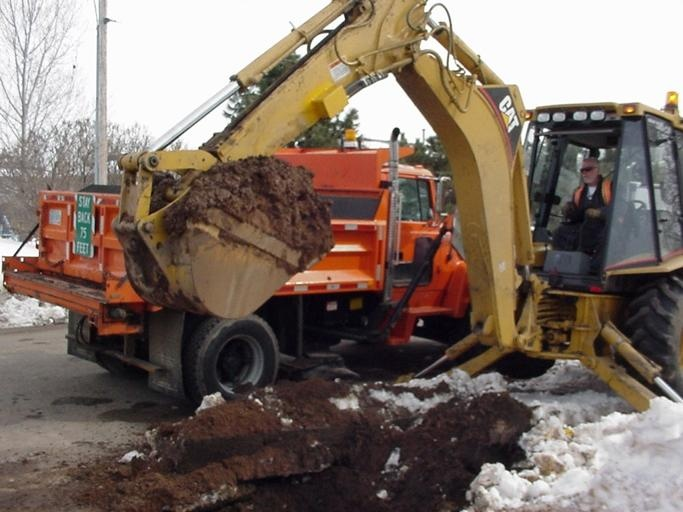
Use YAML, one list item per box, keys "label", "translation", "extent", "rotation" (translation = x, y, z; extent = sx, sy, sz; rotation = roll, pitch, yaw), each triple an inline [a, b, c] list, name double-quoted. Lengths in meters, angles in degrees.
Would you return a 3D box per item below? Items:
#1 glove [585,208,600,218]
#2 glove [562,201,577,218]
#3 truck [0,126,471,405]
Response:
- label: "glove"
  translation: [2.779, -0.480, 6.643]
  extent: [0.112, 0.119, 0.027]
  rotation: [6, 2, 40]
- label: "glove"
  translation: [2.741, -0.550, 7.179]
  extent: [0.063, 0.178, 0.125]
  rotation: [12, -15, -31]
- label: "truck"
  translation: [-0.733, 0.413, 7.981]
  extent: [5.812, 3.021, 3.209]
  rotation: [-4, 5, -36]
